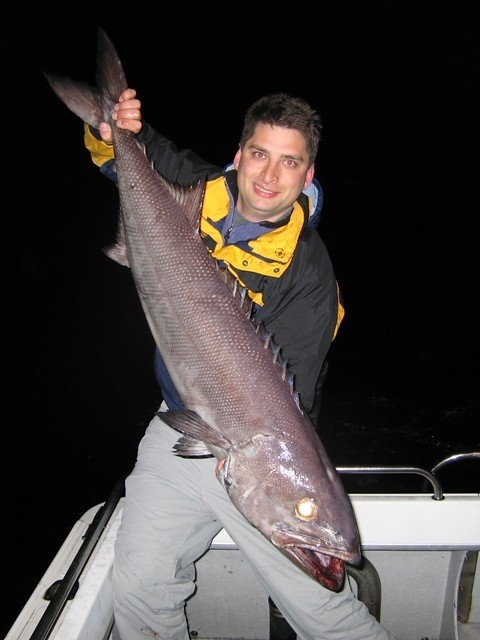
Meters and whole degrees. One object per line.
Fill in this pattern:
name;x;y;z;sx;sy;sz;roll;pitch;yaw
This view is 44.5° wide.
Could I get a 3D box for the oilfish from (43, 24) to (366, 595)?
oilfish;-0.237;-0.323;2.944;0.773;3.010;0.911;-13;-24;-44
